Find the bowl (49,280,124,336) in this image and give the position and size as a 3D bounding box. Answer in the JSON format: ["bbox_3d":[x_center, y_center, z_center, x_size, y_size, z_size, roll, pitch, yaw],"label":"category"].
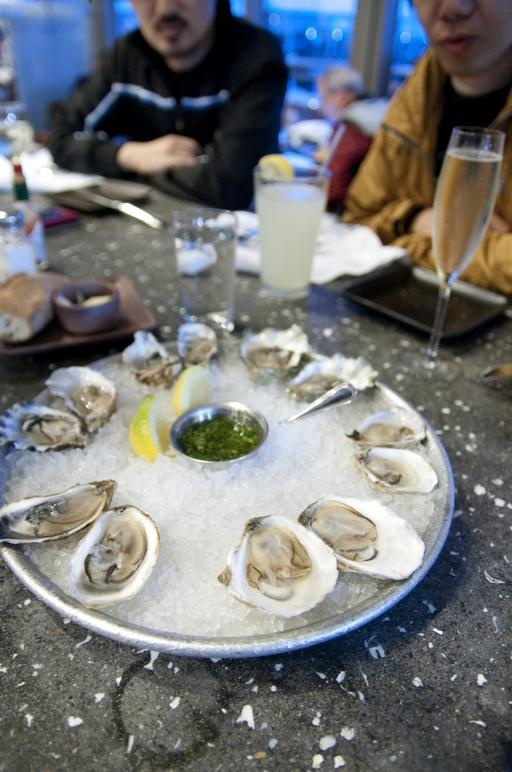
[{"bbox_3d":[-0.252,-0.116,0.940,0.092,0.048,0.091,2,34,-1],"label":"bowl"}]

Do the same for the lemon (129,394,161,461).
[{"bbox_3d":[-0.122,0.045,0.689,0.041,0.040,0.094,-7,30,-4],"label":"lemon"}]

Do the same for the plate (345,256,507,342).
[{"bbox_3d":[0.283,-0.165,1.024,0.204,0.028,0.144,23,46,36],"label":"plate"}]
